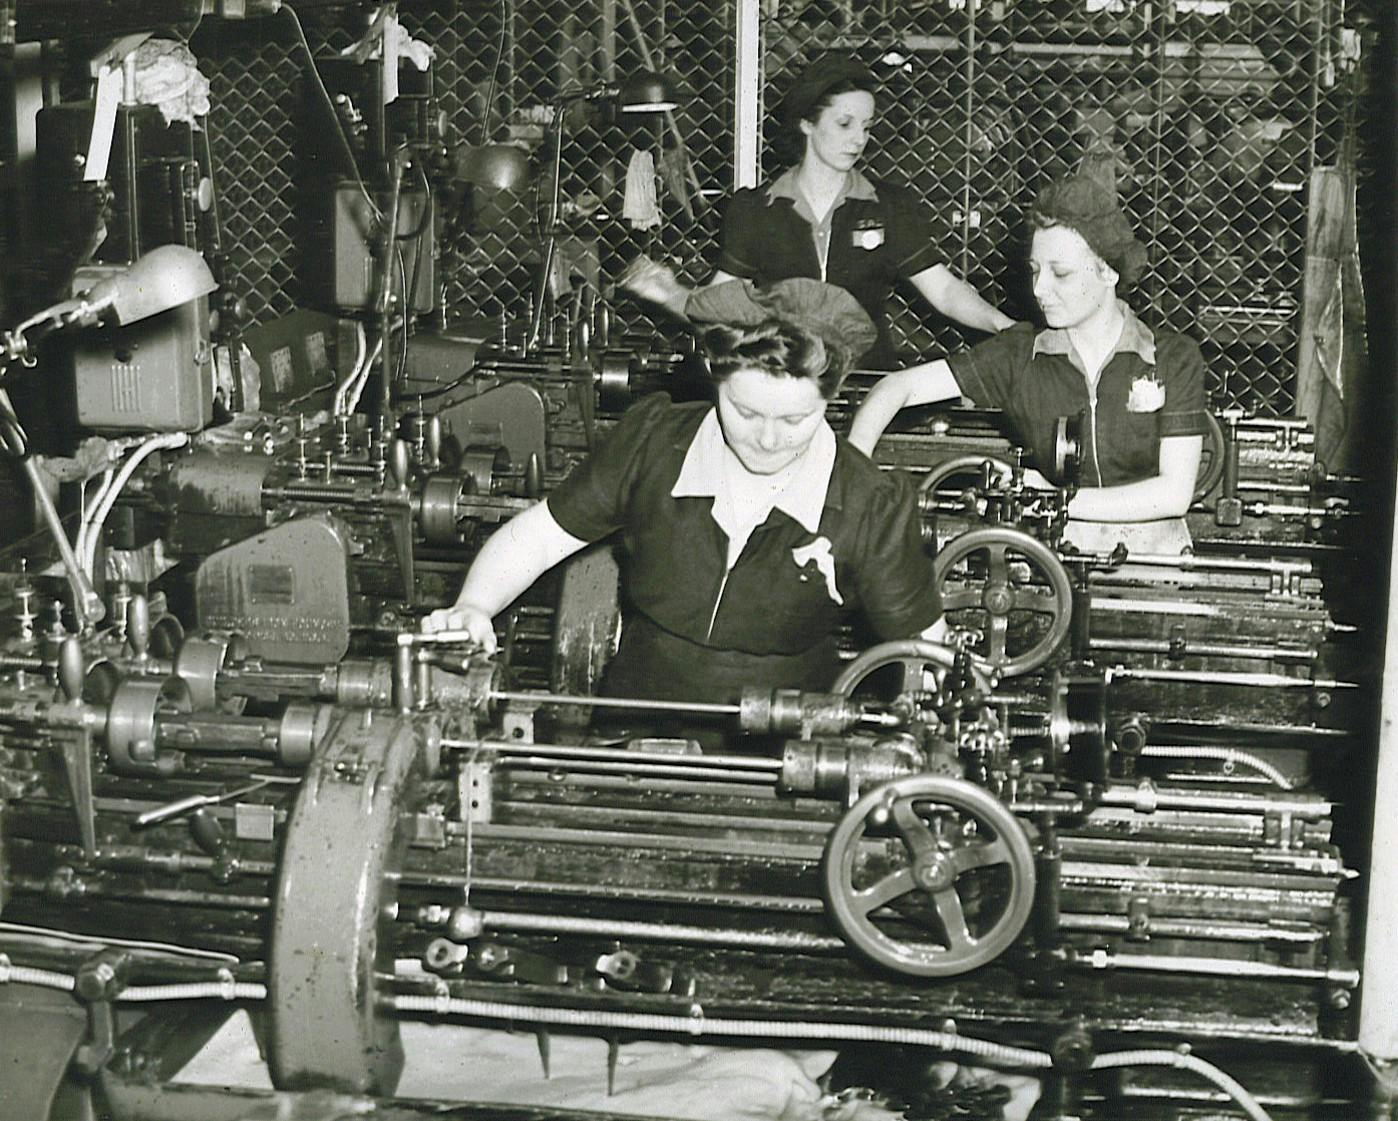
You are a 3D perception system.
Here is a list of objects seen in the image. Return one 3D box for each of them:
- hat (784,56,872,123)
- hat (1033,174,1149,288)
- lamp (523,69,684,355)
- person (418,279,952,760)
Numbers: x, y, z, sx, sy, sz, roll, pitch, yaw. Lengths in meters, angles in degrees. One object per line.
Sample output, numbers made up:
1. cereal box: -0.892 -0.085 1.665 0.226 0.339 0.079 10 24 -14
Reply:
1. hat: 0.389 -1.441 6.341 0.214 0.211 0.344 -2 12 -30
2. hat: 1.037 -0.862 5.386 0.327 0.277 0.258 2 10 -9
3. lamp: -0.372 -1.369 8.274 0.709 1.853 0.384 -2 44 -6
4. person: 0.041 -0.085 4.545 1.022 1.088 0.538 5 9 6
